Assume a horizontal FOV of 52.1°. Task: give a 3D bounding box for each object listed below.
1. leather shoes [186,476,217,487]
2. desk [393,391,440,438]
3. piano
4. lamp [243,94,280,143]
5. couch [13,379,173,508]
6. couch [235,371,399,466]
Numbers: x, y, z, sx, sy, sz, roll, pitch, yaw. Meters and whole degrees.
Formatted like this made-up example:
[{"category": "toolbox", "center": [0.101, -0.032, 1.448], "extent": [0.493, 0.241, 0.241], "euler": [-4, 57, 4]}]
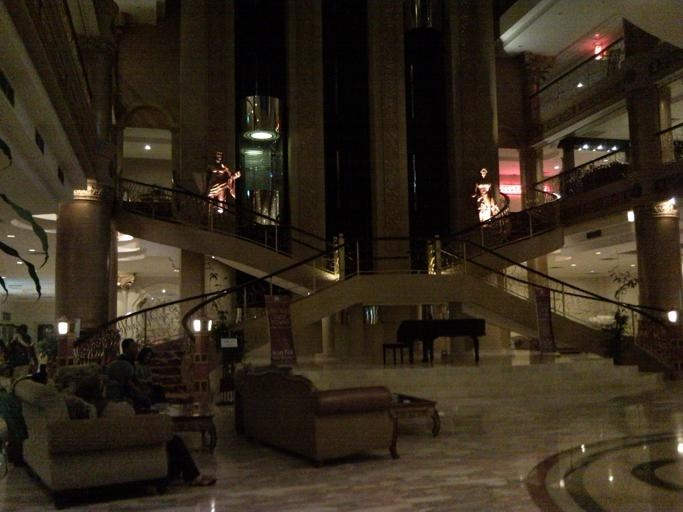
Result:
[{"category": "leather shoes", "center": [-1.487, 2.382, 7.415], "extent": [0.298, 0.111, 0.110], "euler": [-2, -9, -3]}, {"category": "desk", "center": [1.005, 2.022, 9.231], "extent": [0.552, 0.350, 0.764], "euler": [2, -11, -11]}, {"category": "piano", "center": [1.882, 1.659, 13.502], "extent": [1.593, 0.936, 1.034], "euler": [-1, 1, 4]}, {"category": "lamp", "center": [-2.110, -3.810, 19.552], "extent": [1.110, 1.259, 1.086], "euler": [-1, -6, 2]}, {"category": "couch", "center": [-2.670, 1.921, 7.287], "extent": [1.672, 0.994, 0.759], "euler": [-1, 1, 21]}, {"category": "couch", "center": [-0.433, 2.009, 9.254], "extent": [1.092, 1.127, 2.520], "euler": [2, -7, -30]}]
